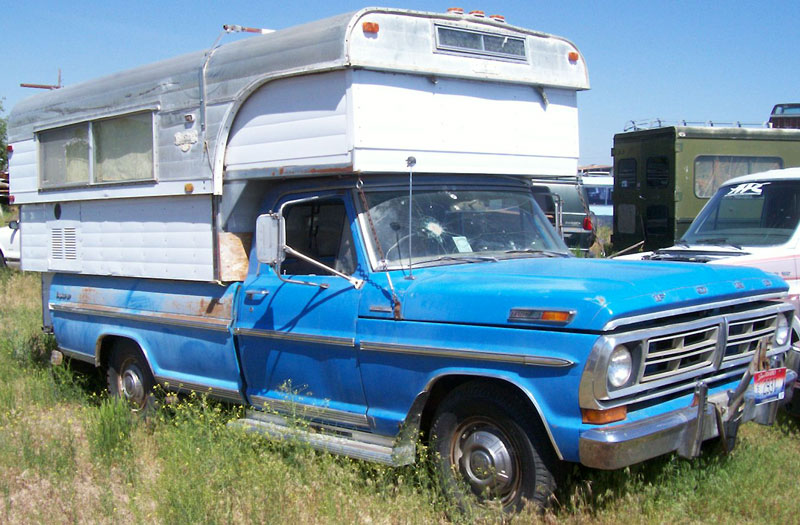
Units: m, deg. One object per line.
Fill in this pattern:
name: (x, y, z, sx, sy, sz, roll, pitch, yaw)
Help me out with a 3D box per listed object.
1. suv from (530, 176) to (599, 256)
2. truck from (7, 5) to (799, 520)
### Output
suv: (4.465, -1.166, 16.557, 1.956, 1.623, 3.173, -1, 5, -10)
truck: (-0.450, -0.250, 8.206, 8.067, 4.489, 4.502, 5, 10, 34)
